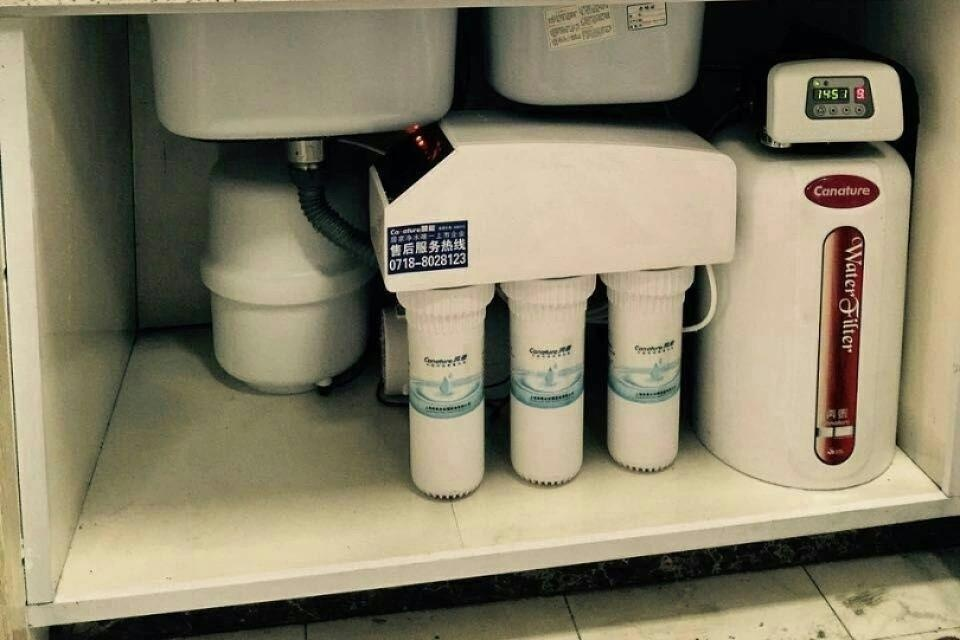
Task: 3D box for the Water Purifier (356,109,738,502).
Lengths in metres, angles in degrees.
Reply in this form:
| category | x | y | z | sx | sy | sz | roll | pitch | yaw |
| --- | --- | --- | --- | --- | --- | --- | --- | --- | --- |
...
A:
| category | x | y | z | sx | sy | sz | roll | pitch | yaw |
| --- | --- | --- | --- | --- | --- | --- | --- | --- | --- |
| Water Purifier | 0.116 | -0.017 | 1.452 | 0.663 | 0.619 | 0.214 | -3 | 21 | -8 |
